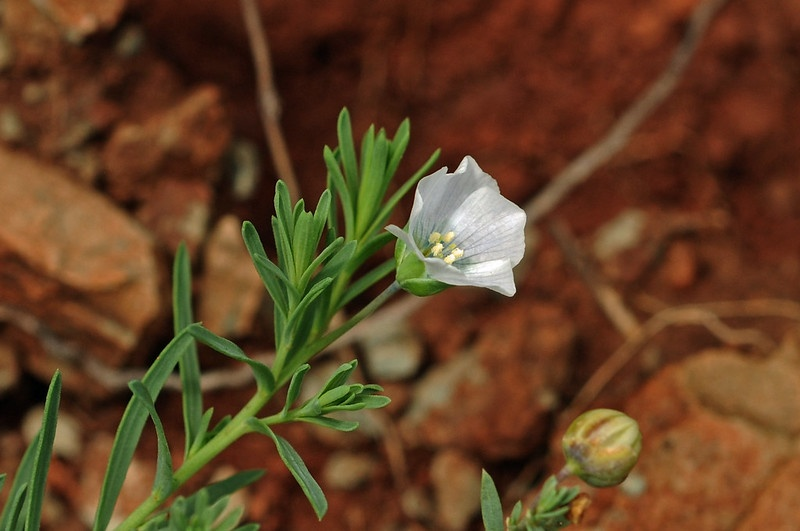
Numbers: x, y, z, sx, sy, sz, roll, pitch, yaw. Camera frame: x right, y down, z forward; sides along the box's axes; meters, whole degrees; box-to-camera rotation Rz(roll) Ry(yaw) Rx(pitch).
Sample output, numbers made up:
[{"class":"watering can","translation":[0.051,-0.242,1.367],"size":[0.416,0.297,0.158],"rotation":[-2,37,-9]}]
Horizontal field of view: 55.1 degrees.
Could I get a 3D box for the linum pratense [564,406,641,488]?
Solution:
[{"class":"linum pratense","translation":[0.594,0.532,2.273],"size":[0.208,0.071,0.227],"rotation":[19,81,5]}]
